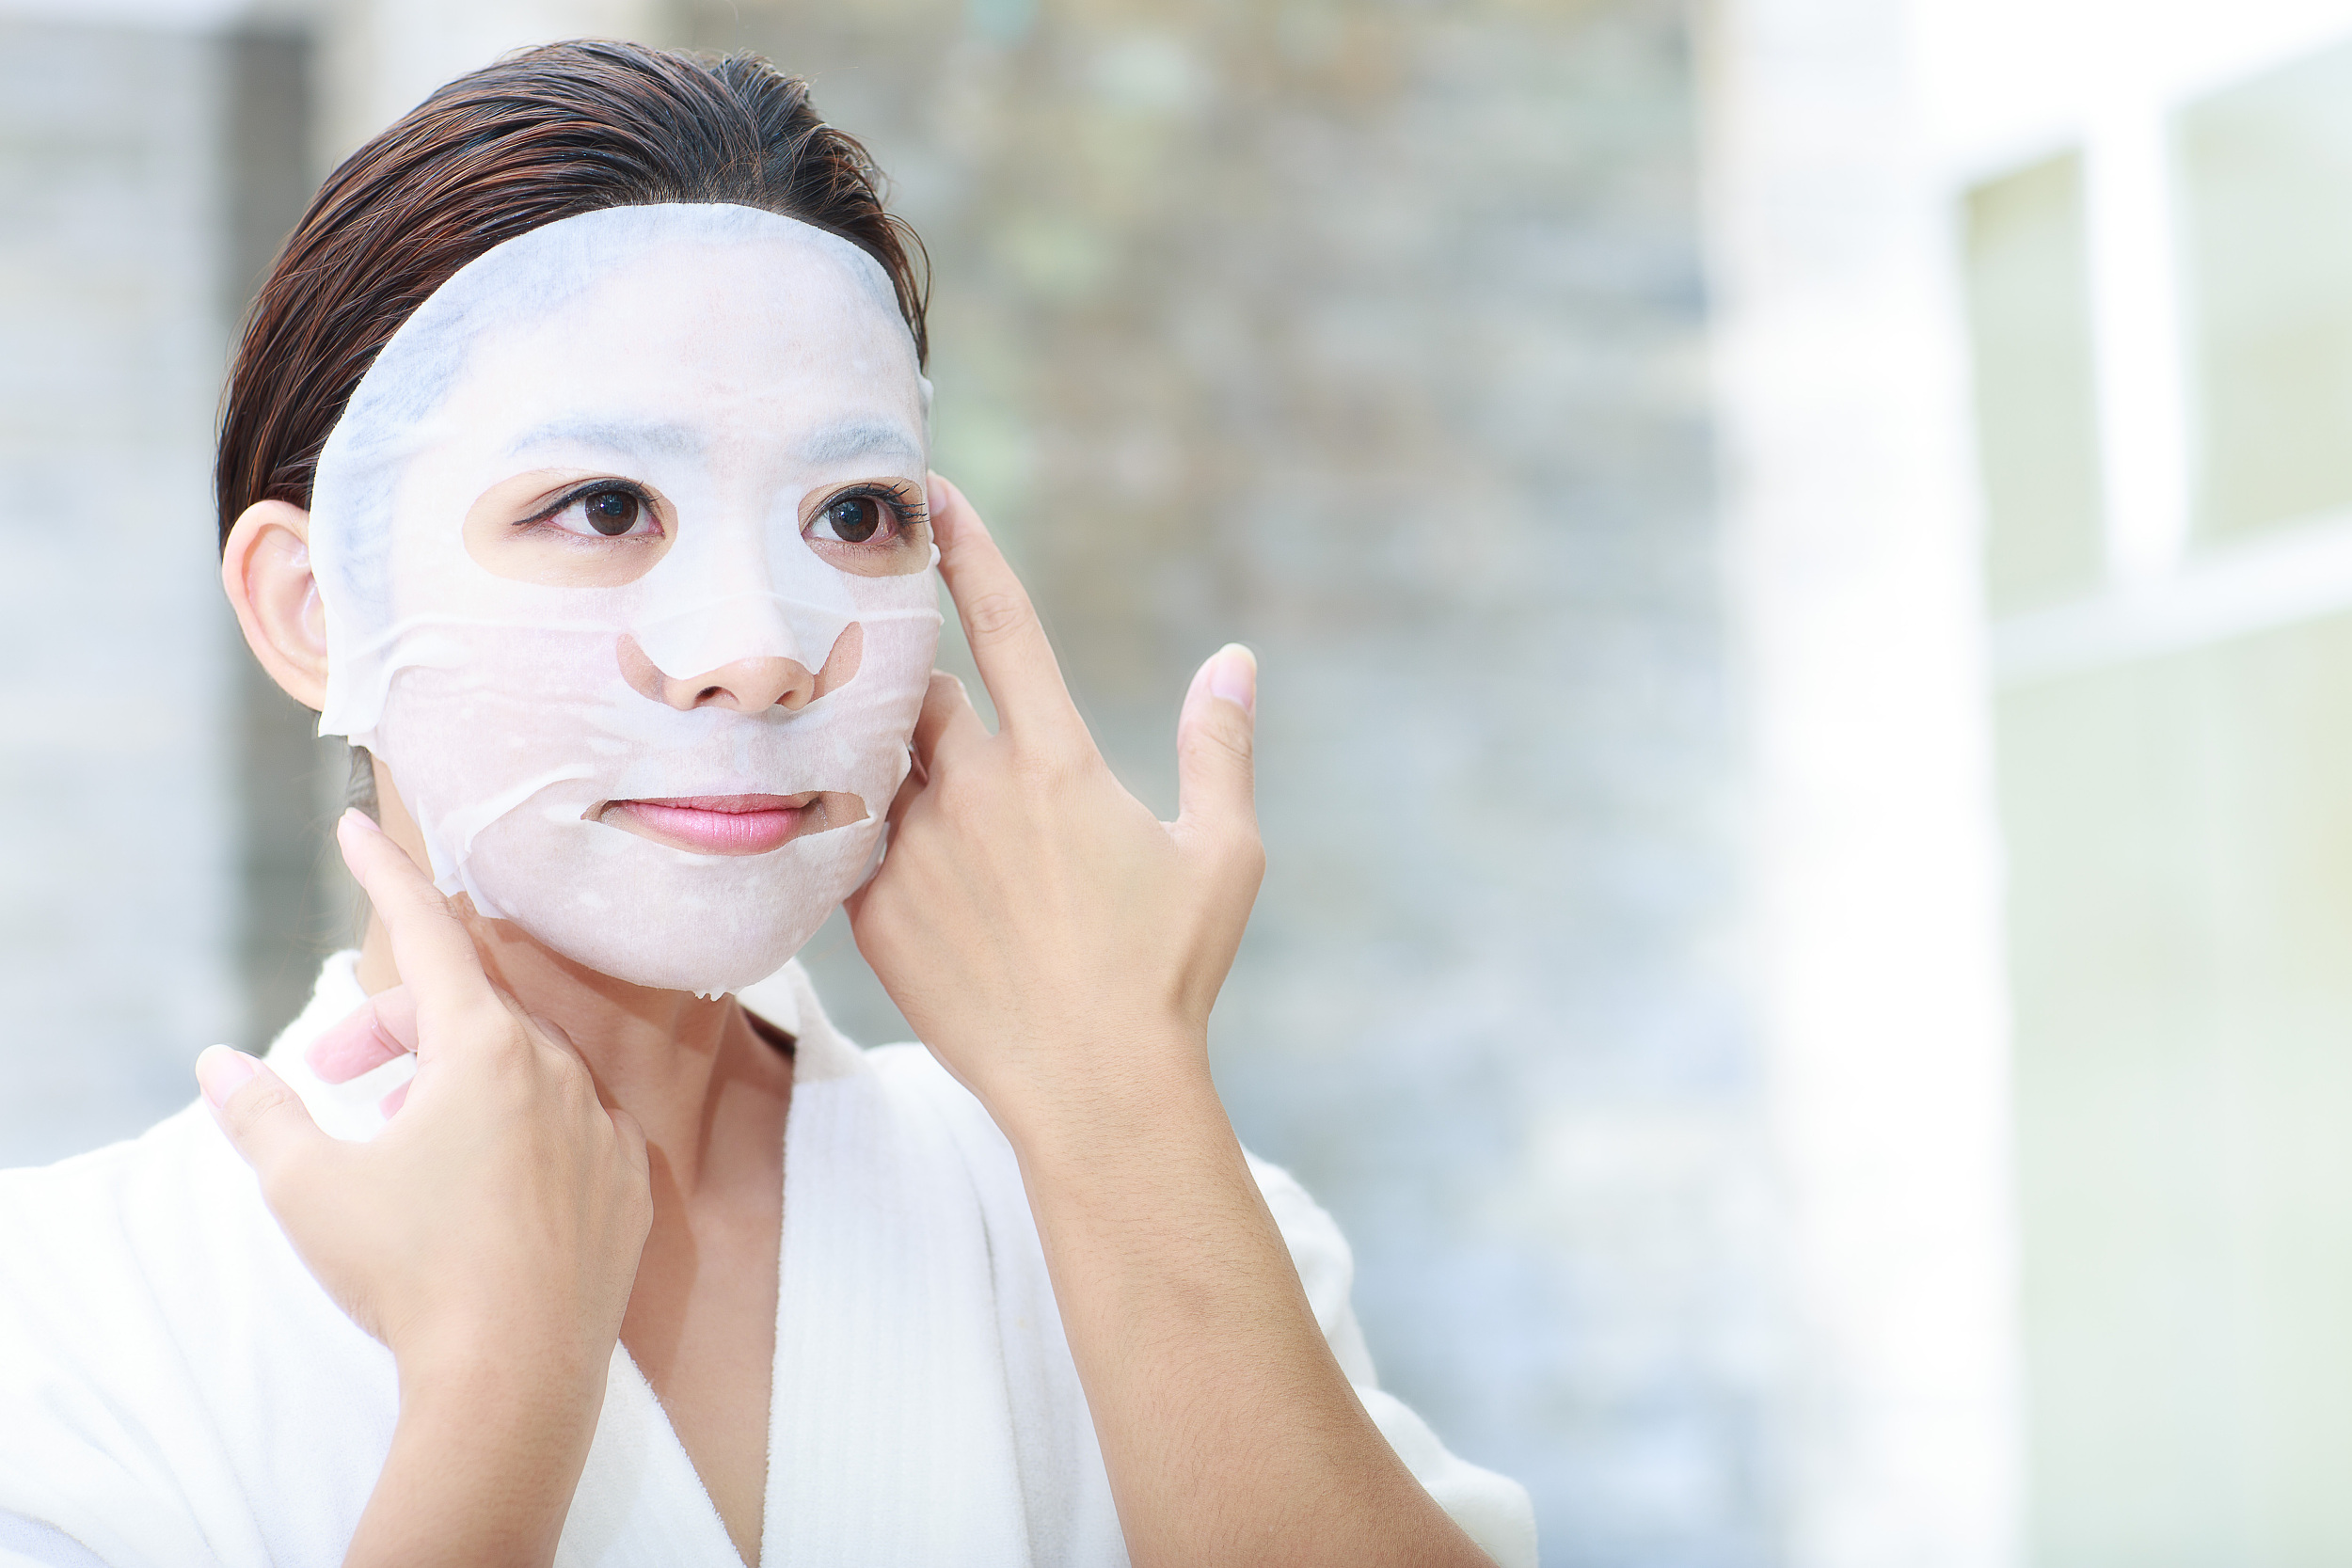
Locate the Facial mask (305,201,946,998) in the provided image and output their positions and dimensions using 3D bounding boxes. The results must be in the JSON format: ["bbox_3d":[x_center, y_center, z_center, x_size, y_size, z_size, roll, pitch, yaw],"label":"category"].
[{"bbox_3d":[-0.450,-0.156,2.297,0.582,0.405,0.648,2,79,-29],"label":"Facial mask"}]
